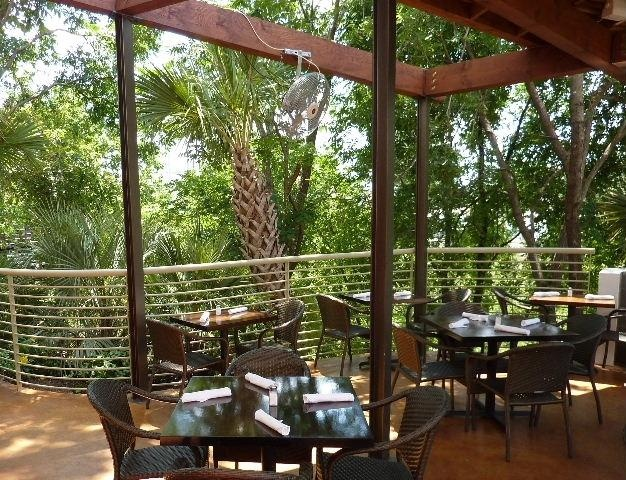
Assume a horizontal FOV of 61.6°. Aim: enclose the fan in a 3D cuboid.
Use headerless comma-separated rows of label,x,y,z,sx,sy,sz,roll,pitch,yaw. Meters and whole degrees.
fan,-0.140,-1.284,4.495,0.400,0.624,0.540,-7,17,-3
